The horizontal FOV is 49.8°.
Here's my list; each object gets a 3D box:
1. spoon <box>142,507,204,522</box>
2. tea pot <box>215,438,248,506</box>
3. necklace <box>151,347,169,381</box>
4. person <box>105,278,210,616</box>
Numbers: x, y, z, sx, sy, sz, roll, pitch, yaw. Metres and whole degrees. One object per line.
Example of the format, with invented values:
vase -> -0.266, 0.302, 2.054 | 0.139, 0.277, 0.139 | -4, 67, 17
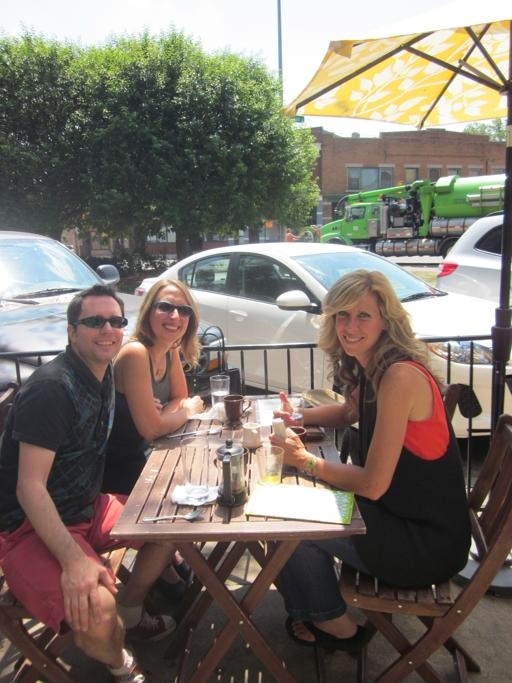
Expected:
spoon -> -0.267, 0.571, 1.826 | 0.211, 0.038, 0.061 | -5, 21, 4
tea pot -> -0.091, 0.473, 1.965 | 0.162, 0.180, 0.256 | 2, 12, -3
necklace -> -0.539, 0.136, 3.134 | 0.098, 0.135, 0.045 | 1, 1, -32
person -> -0.513, 0.508, 3.042 | 0.683, 1.461, 0.705 | 11, 14, -24
